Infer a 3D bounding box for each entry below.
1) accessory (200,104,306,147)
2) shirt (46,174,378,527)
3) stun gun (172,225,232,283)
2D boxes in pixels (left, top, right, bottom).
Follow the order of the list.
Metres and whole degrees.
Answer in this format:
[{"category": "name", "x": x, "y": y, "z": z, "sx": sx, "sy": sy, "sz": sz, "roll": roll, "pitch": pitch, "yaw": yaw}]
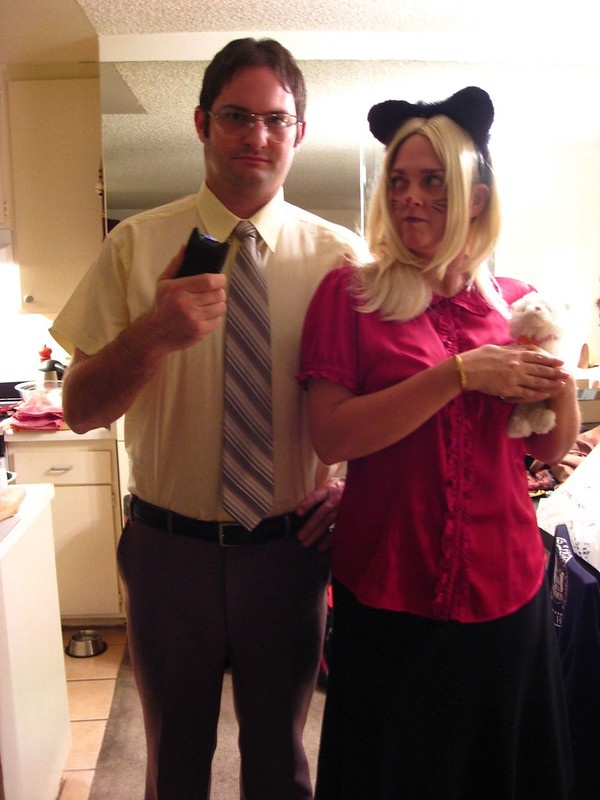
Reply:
[{"category": "accessory", "x": -0.071, "y": -0.452, "z": 1.158, "sx": 0.163, "sy": 0.057, "sz": 0.125, "roll": -4, "pitch": 18, "yaw": -11}, {"category": "shirt", "x": -0.161, "y": -0.072, "z": 1.227, "sx": 0.541, "sy": 0.606, "sz": 0.246, "roll": -4, "pitch": 25, "yaw": -16}, {"category": "stun gun", "x": -0.118, "y": -0.213, "z": 1.018, "sx": 0.115, "sy": 0.064, "sz": 0.118, "roll": 0, "pitch": 20, "yaw": -3}]
